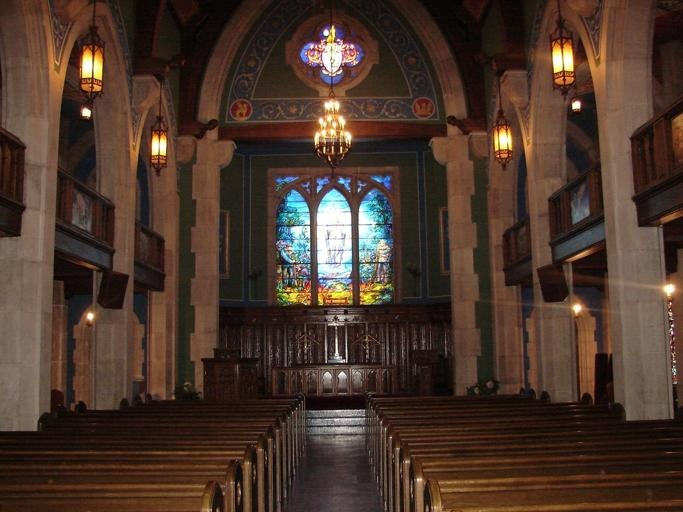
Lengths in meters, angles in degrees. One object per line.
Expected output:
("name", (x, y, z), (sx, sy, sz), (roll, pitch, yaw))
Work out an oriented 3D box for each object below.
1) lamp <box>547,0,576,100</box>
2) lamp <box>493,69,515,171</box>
("lamp", (3.594, -3.358, 15.261), (0.362, 1.559, 0.665), (-4, -13, 14))
("lamp", (3.130, -2.685, 18.343), (0.355, 1.791, 0.330), (-4, -12, 10))
